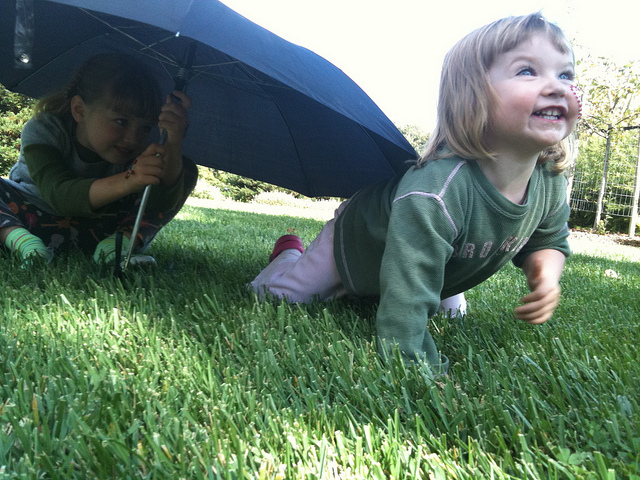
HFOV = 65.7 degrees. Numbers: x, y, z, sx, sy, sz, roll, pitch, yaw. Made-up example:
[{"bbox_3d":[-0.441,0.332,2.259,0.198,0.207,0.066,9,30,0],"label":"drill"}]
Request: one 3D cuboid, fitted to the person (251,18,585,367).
[{"bbox_3d":[0.483,-0.159,2.158,0.846,1.120,1.636,4,-1,-13],"label":"person"}]
